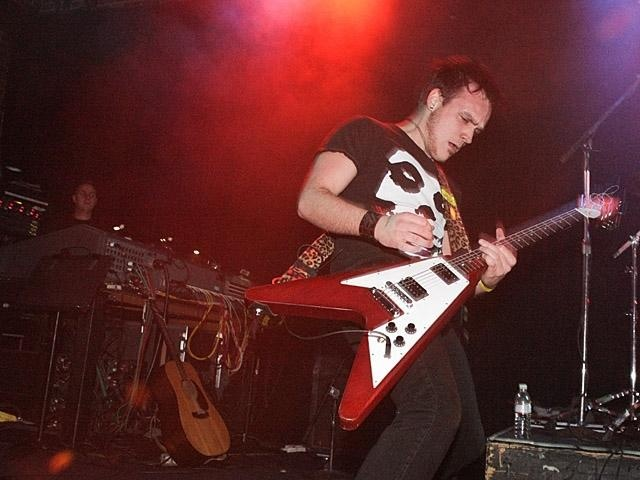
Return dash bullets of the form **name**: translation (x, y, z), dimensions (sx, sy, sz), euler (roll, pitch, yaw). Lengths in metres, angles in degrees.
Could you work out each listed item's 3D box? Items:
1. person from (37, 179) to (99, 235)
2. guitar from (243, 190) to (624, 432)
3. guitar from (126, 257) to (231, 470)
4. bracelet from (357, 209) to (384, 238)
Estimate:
- **person**: translation (-2.982, -0.354, 5.756), dimensions (0.509, 0.666, 1.443), euler (10, -5, -26)
- **guitar**: translation (0.780, 0.159, 2.657), dimensions (2.097, 0.973, 0.247), euler (-23, -47, -18)
- **guitar**: translation (-1.155, 1.091, 4.129), dimensions (0.933, 1.410, 0.576), euler (6, -4, 29)
- **bracelet**: translation (0.251, -0.078, 2.500), dimensions (0.136, 0.128, 0.121), euler (18, -48, -3)
